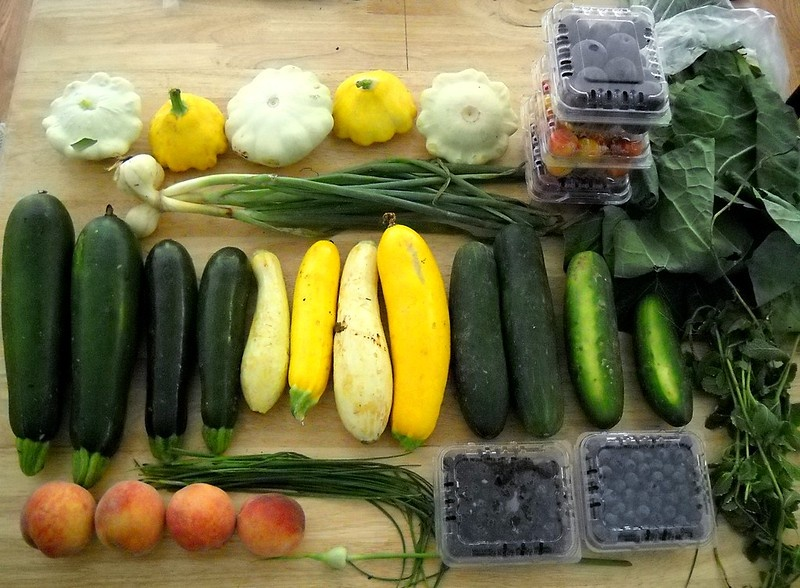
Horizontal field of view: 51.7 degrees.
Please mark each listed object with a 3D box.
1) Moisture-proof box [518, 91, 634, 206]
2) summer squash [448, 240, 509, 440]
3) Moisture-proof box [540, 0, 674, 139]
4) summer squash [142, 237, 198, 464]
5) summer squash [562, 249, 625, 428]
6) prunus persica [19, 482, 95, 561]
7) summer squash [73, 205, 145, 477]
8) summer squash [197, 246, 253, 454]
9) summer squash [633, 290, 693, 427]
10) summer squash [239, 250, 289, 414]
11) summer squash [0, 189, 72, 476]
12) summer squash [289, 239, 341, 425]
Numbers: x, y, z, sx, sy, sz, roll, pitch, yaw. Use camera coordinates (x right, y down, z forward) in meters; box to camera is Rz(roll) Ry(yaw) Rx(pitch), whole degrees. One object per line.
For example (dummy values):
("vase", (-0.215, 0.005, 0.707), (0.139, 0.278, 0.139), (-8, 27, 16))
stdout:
("Moisture-proof box", (0.439, -0.331, 2.140), (0.253, 0.312, 0.109), (-4, -1, 1))
("summer squash", (0.176, 0.123, 2.128), (0.141, 0.481, 0.138), (2, -16, -13))
("Moisture-proof box", (0.514, -0.568, 2.074), (0.305, 0.303, 0.187), (0, 12, 8))
("summer squash", (-0.571, 0.141, 2.067), (0.143, 0.519, 0.190), (-4, 12, -11))
("summer squash", (0.482, 0.116, 2.142), (0.134, 0.438, 0.141), (-11, -22, 25))
("prunus persica", (-0.783, 0.521, 1.971), (0.175, 0.173, 0.165), (-37, -32, 28))
("summer squash", (-0.724, 0.139, 2.044), (0.160, 0.635, 0.227), (-2, 12, -1))
("summer squash", (-0.439, 0.145, 2.085), (0.125, 0.490, 0.182), (-2, 12, -2))
("summer squash", (0.659, 0.169, 2.141), (0.115, 0.355, 0.120), (-18, -28, 33))
("summer squash", (-0.332, 0.102, 2.104), (0.107, 0.394, 0.102), (8, -16, -23))
("summer squash", (-0.873, 0.108, 2.088), (0.170, 0.677, 0.165), (-2, -6, 29))
("summer squash", (-0.237, 0.098, 2.124), (0.121, 0.502, 0.121), (8, -42, -5))
